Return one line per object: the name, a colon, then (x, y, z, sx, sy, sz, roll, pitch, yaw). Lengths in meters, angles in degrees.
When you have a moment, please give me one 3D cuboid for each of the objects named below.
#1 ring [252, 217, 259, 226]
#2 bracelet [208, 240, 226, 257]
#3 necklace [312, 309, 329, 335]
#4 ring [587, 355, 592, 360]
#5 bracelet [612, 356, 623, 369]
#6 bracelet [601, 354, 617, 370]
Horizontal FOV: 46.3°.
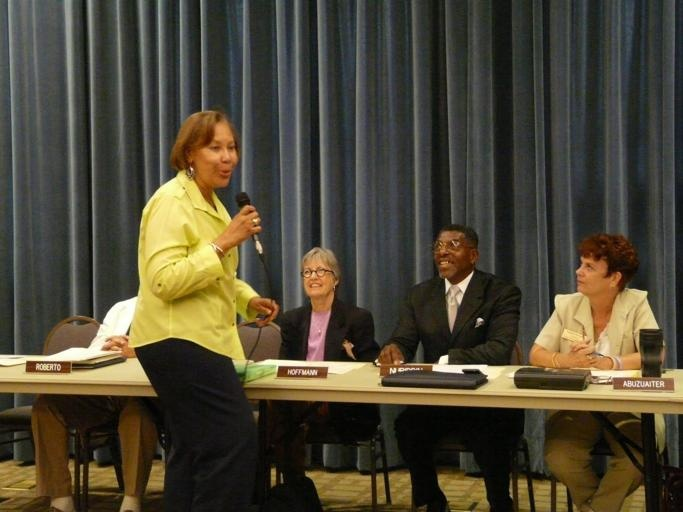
ring: (-0.357, -0.144, 3.370, 0.030, 0.013, 0.031, 0, -26, 0)
bracelet: (-0.516, -0.028, 3.329, 0.021, 0.054, 0.056, -40, -34, -3)
necklace: (-0.116, 0.387, 4.571, 0.119, 0.160, 0.089, 2, -15, 1)
ring: (1.152, 0.474, 3.686, 0.020, 0.020, 0.005, -3, -6, -10)
bracelet: (1.306, 0.510, 3.759, 0.042, 0.047, 0.052, 1, -12, 0)
bracelet: (1.274, 0.508, 3.767, 0.047, 0.035, 0.067, 22, -14, 32)
